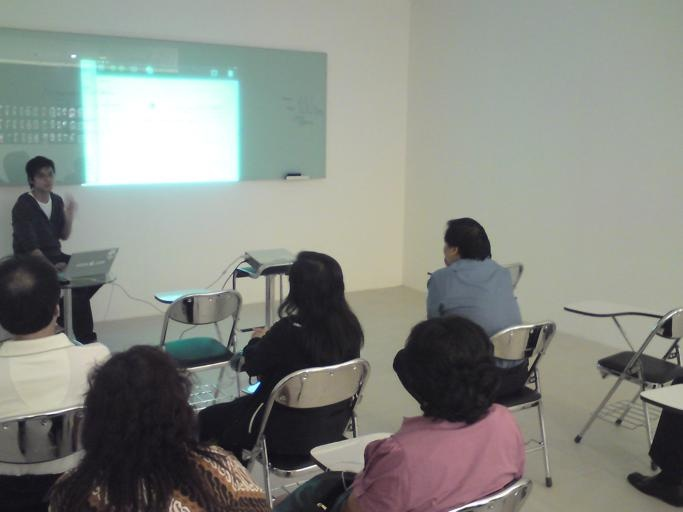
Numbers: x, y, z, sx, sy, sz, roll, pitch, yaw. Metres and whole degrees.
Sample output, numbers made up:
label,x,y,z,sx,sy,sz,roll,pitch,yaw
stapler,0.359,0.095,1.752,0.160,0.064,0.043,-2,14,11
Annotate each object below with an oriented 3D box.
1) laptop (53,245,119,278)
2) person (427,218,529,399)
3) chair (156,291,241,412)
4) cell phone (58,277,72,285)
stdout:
label,x,y,z,sx,sy,sz,roll,pitch,yaw
laptop,-1.896,0.052,4.239,0.327,0.215,0.239,-3,50,-41
person,0.713,0.183,3.100,0.442,0.836,0.482,0,28,13
chair,-0.898,0.586,3.498,0.506,0.898,0.635,-3,11,-22
cell phone,-1.763,0.160,3.577,0.070,0.065,0.064,-3,10,-36
